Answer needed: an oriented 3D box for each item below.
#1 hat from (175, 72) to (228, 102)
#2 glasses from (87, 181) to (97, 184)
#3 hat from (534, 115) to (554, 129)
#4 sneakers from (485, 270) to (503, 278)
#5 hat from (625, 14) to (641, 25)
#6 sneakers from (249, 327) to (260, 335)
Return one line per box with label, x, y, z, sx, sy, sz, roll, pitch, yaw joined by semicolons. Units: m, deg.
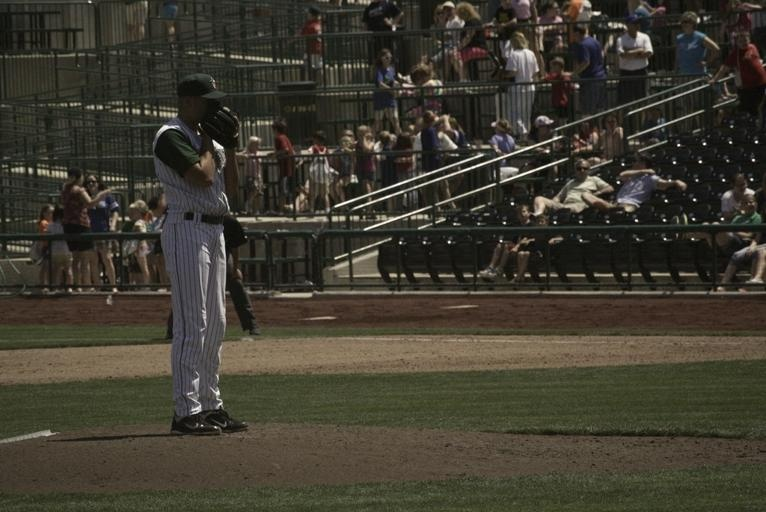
hat;-2.763;-2.571;30.185;0.577;0.280;0.405;-4;11;-4
glasses;-5.895;-1.515;40.513;0.166;0.064;0.076;-2;3;-7
hat;3.347;-2.830;41.872;0.380;0.187;0.262;-3;14;2
sneakers;2.108;0.338;37.827;0.282;0.141;0.059;-2;3;0
hat;5.162;-4.963;41.686;0.195;0.134;0.265;-20;16;-39
sneakers;-2.285;1.329;35.394;0.178;0.123;0.128;-3;3;14
